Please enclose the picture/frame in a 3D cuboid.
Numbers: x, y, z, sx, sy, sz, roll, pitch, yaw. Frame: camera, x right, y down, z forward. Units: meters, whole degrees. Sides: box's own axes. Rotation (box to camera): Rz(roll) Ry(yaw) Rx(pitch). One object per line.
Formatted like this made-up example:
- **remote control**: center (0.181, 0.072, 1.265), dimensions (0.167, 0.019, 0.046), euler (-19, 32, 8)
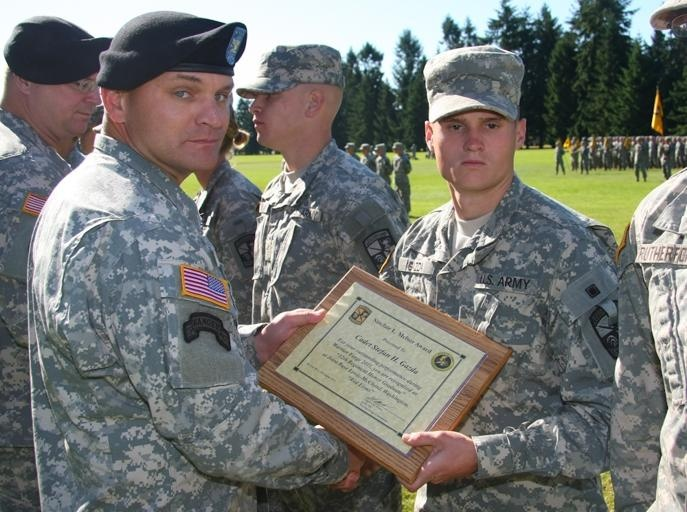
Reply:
- **picture/frame**: center (0.193, 0.544, 3.818), dimensions (1.078, 0.974, 0.257), euler (30, -24, 26)
